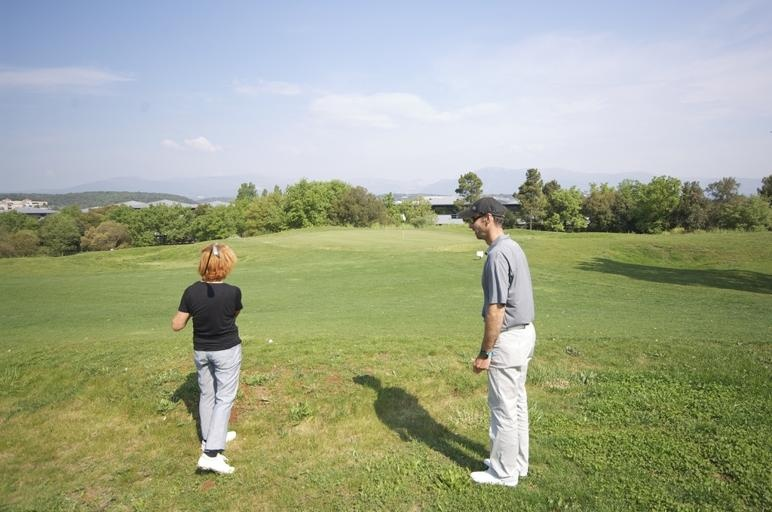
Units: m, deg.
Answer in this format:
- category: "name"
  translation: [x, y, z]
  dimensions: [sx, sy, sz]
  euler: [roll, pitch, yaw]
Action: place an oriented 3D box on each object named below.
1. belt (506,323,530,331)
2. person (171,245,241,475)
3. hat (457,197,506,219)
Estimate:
- category: "belt"
  translation: [2.304, 1.247, 8.026]
  dimensions: [0.470, 0.100, 0.058]
  euler: [-3, 6, -13]
- category: "person"
  translation: [-3.206, 1.909, 8.590]
  dimensions: [0.872, 4.263, 0.960]
  euler: [4, 8, 39]
- category: "hat"
  translation: [1.778, -0.853, 8.370]
  dimensions: [0.621, 0.233, 0.392]
  euler: [-1, 3, 15]
